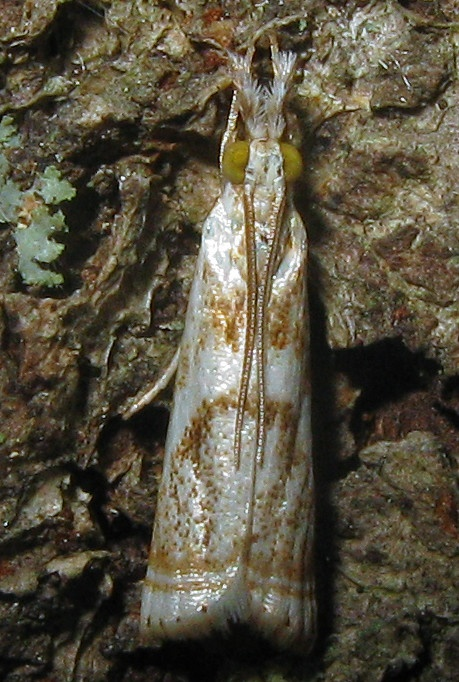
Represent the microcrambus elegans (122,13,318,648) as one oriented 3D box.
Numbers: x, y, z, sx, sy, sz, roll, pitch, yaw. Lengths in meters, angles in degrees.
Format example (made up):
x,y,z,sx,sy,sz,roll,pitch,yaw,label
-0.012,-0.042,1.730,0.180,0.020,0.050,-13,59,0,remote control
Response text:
x,y,z,sx,sy,sz,roll,pitch,yaw,label
0.145,-0.031,3.710,1.145,0.688,2.737,1,74,8,microcrambus elegans
